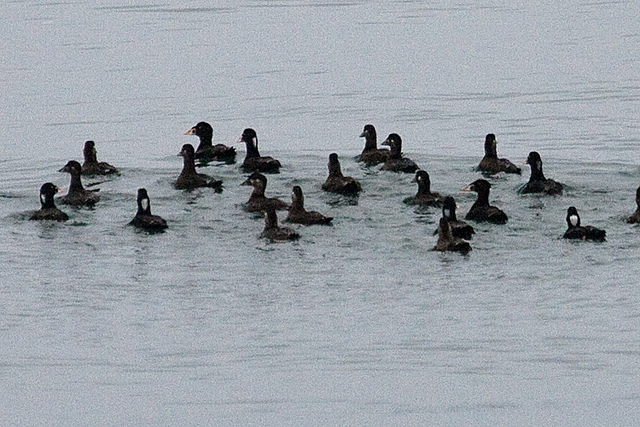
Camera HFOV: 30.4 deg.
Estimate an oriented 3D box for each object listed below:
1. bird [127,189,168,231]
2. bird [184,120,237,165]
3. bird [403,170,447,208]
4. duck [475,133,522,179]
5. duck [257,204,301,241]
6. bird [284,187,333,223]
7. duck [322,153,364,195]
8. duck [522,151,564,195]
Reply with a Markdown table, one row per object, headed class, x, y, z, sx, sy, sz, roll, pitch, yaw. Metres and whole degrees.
| class | x | y | z | sx | sy | sz | roll | pitch | yaw |
| --- | --- | --- | --- | --- | --- | --- | --- | --- | --- |
| bird | -4.830 | -0.119 | 33.372 | 1.131 | 1.123 | 0.526 | 9 | 10 | 32 |
| bird | -3.832 | -2.441 | 41.507 | 2.206 | 1.406 | 0.807 | 5 | 4 | 24 |
| bird | 3.074 | -0.750 | 34.781 | 0.987 | 1.039 | 1.222 | 2 | 9 | -12 |
| duck | 5.706 | -1.881 | 37.945 | 1.448 | 1.365 | 1.053 | 6 | 9 | 16 |
| duck | -1.124 | 0.356 | 32.525 | 1.337 | 0.838 | 0.762 | 4 | 28 | 39 |
| bird | -0.489 | -0.167 | 33.884 | 1.433 | 0.961 | 2.452 | 1 | -8 | 0 |
| duck | 0.658 | -1.215 | 35.946 | 0.621 | 1.181 | 1.189 | -5 | 12 | -43 |
| duck | 6.781 | -1.224 | 35.810 | 1.205 | 1.251 | 0.920 | 7 | 9 | 22 |
